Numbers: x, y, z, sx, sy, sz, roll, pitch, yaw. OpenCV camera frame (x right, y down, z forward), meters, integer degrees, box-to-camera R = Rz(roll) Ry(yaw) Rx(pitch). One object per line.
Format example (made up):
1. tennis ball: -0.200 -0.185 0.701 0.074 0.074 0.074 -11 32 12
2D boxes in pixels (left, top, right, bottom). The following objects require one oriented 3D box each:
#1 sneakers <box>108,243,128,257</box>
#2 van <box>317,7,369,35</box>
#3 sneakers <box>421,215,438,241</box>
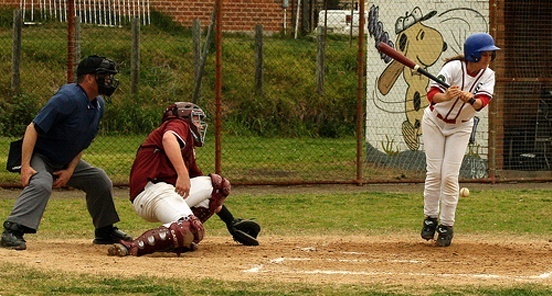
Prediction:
1. sneakers: -2.982 1.970 16.001 0.382 0.233 0.095 3 3 21
2. van: 2.150 -4.147 28.869 2.269 0.970 1.260 -1 19 0
3. sneakers: 3.033 1.635 16.896 0.228 0.257 0.607 9 31 14
